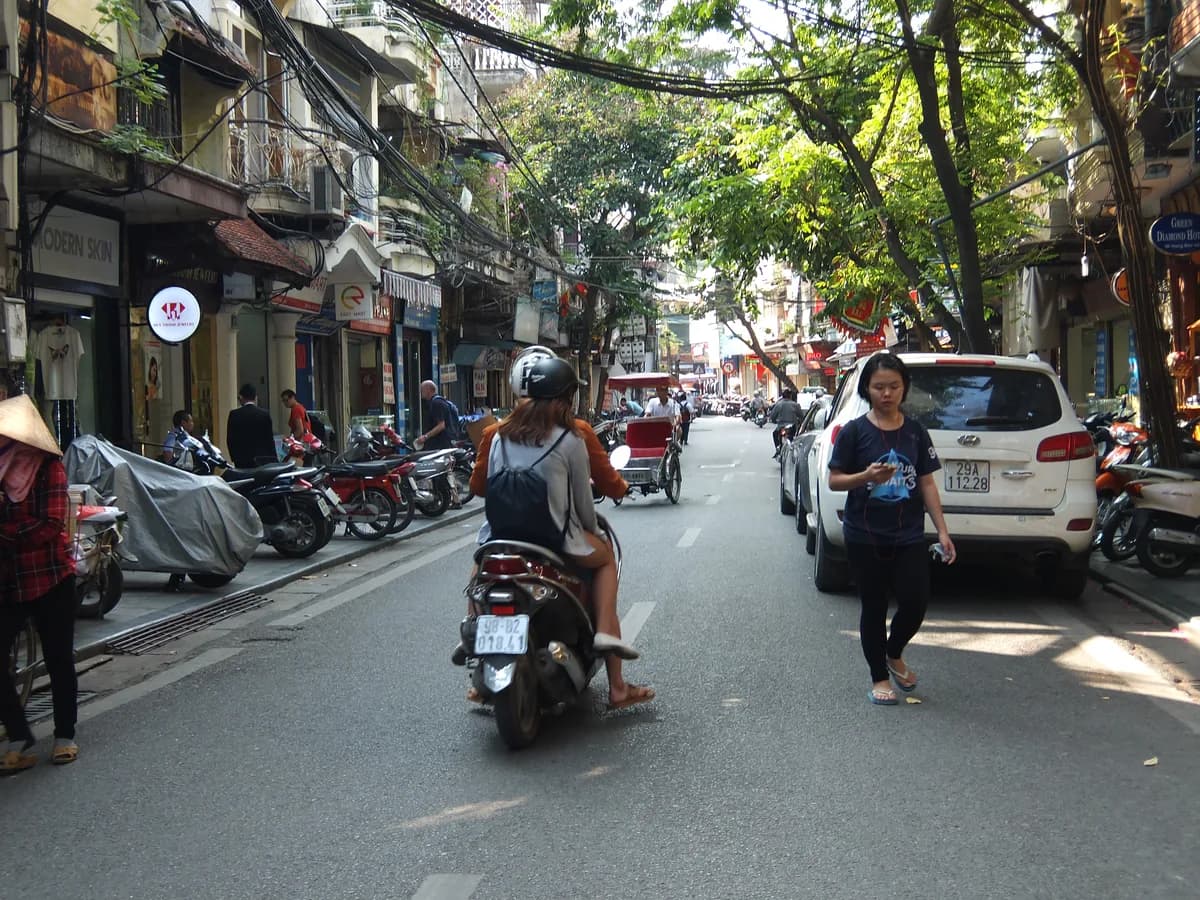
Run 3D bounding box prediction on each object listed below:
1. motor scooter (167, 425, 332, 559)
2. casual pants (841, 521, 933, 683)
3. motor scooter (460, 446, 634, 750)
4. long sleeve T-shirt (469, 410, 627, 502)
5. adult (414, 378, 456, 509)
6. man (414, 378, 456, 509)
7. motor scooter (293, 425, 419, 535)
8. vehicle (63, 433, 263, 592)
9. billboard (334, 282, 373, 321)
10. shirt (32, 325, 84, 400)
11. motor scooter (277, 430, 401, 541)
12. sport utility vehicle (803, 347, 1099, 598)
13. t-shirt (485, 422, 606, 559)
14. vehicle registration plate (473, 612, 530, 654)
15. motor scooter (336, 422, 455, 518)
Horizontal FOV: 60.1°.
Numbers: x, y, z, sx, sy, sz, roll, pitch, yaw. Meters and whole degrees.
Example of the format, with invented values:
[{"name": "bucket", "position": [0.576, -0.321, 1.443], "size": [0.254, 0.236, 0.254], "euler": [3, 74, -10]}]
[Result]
[{"name": "motor scooter", "position": [-4.340, 0.465, 12.763], "size": [2.260, 1.570, 1.201], "euler": [5, 3, 6]}, {"name": "casual pants", "position": [1.784, 1.001, 6.414], "size": [0.466, 0.907, 0.353], "euler": [0, 4, 17]}, {"name": "motor scooter", "position": [-0.404, 1.066, 5.899], "size": [0.486, 1.154, 0.884], "euler": [2, 5, 40]}, {"name": "long sleeve T-shirt", "position": [-0.301, 0.081, 6.032], "size": [0.408, 0.631, 0.990], "euler": [1, 10, 17]}, {"name": "adult", "position": [-2.780, -0.092, 17.474], "size": [0.725, 2.136, 0.682], "euler": [-3, 6, -12]}, {"name": "man", "position": [-2.773, -0.106, 17.505], "size": [0.652, 2.155, 0.759], "euler": [-5, 6, -26]}, {"name": "motor scooter", "position": [-3.070, 0.550, 13.912], "size": [1.888, 1.471, 1.057], "euler": [1, 3, 3]}, {"name": "vehicle", "position": [-4.191, 0.646, 9.936], "size": [2.004, 1.365, 0.738], "euler": [1, 14, 5]}, {"name": "billboard", "position": [-5.501, -3.353, 22.989], "size": [0.643, 0.776, 0.095], "euler": [-1, 4, 3]}, {"name": "shirt", "position": [-6.797, -1.095, 12.977], "size": [0.487, 0.920, 0.772], "euler": [-3, 4, -30]}, {"name": "motor scooter", "position": [-3.588, 0.588, 13.719], "size": [1.670, 1.314, 0.906], "euler": [1, 2, 4]}, {"name": "sport utility vehicle", "position": [3.428, 0.045, 9.945], "size": [1.541, 1.712, 3.154], "euler": [1, 4, 8]}, {"name": "t-shirt", "position": [-0.333, 0.207, 6.066], "size": [0.687, 0.974, 0.512], "euler": [8, 1, 11]}, {"name": "vehicle registration plate", "position": [-0.528, 0.984, 5.556], "size": [0.204, 0.176, 0.030], "euler": [0, -28, 7]}, {"name": "motor scooter", "position": [-3.207, 0.298, 15.776], "size": [1.974, 1.577, 1.116], "euler": [-2, 8, -4]}]
